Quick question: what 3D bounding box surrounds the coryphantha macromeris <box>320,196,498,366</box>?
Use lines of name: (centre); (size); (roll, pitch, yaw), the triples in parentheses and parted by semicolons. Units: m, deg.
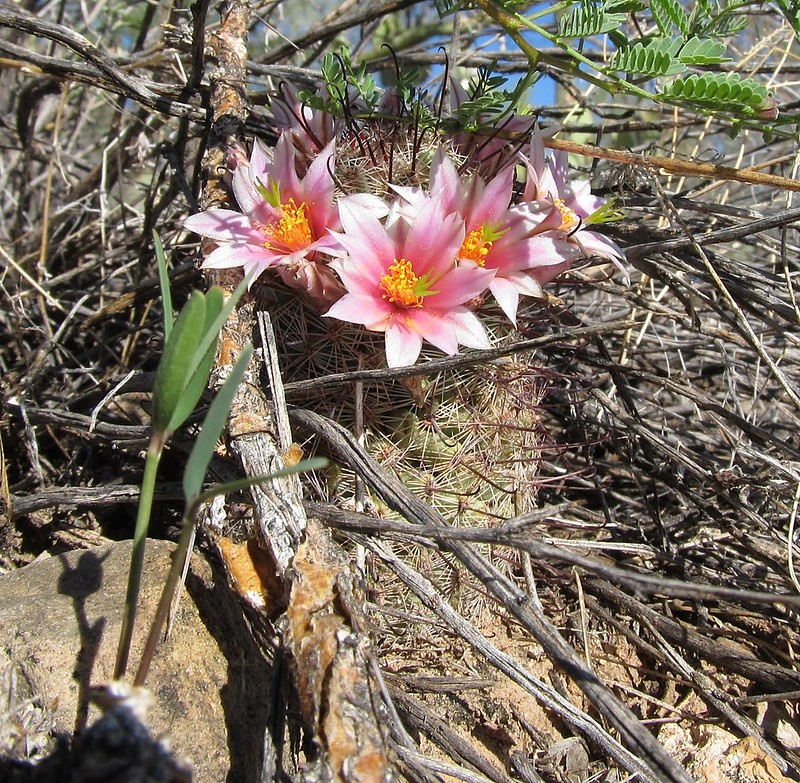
coryphantha macromeris: (0.009, -0.190, 1.327); (0.278, 0.282, 0.137); (55, -6, -30)

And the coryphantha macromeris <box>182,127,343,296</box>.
coryphantha macromeris: (-0.197, -0.317, 1.399); (0.164, 0.286, 0.274); (51, -18, -1)
